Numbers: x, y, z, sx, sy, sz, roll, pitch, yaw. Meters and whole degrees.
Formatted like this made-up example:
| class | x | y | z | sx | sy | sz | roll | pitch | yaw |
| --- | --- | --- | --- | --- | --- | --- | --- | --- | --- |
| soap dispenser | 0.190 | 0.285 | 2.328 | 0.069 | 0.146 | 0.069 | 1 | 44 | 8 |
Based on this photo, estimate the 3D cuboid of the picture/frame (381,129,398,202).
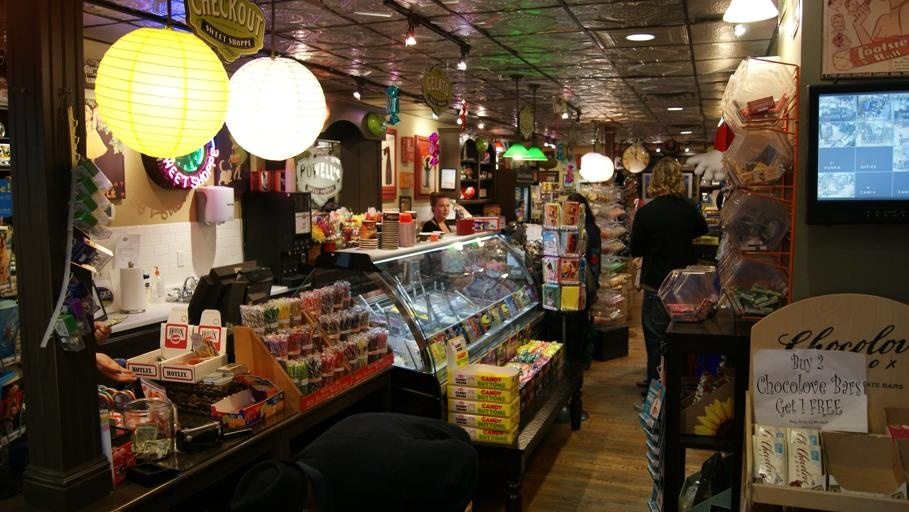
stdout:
| class | x | y | z | sx | sy | sz | roll | pitch | yaw |
| --- | --- | --- | --- | --- | --- | --- | --- | --- | --- |
| picture/frame | -1.174 | -1.670 | 11.223 | 0.172 | 1.346 | 0.709 | -2 | 8 | 13 |

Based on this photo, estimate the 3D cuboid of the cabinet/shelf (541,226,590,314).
| class | x | y | z | sx | sy | sz | roll | pitch | yaw |
| --- | --- | --- | --- | --- | --- | --- | --- | --- | --- |
| cabinet/shelf | 1.128 | 0.132 | 6.357 | 0.442 | 0.875 | 0.227 | -3 | 8 | 6 |

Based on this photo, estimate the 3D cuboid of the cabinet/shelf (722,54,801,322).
| class | x | y | z | sx | sy | sz | roll | pitch | yaw |
| --- | --- | --- | --- | --- | --- | --- | --- | --- | --- |
| cabinet/shelf | 1.794 | -0.405 | 3.652 | 0.389 | 1.522 | 0.252 | -1 | 9 | 22 |

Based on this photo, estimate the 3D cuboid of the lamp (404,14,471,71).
| class | x | y | z | sx | sy | sz | roll | pitch | yaw |
| --- | --- | --- | --- | --- | --- | --- | --- | --- | --- |
| lamp | -0.132 | -2.286 | 6.605 | 0.252 | 0.412 | 1.362 | 0 | 2 | 33 |

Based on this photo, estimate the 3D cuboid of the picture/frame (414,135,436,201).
| class | x | y | z | sx | sy | sz | roll | pitch | yaw |
| --- | --- | --- | --- | --- | --- | --- | --- | --- | --- |
| picture/frame | -0.584 | -1.807 | 12.413 | 0.369 | 1.264 | 0.789 | -3 | 8 | 5 |

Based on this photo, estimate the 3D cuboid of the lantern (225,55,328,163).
| class | x | y | z | sx | sy | sz | roll | pitch | yaw |
| --- | --- | --- | --- | --- | --- | --- | --- | --- | --- |
| lantern | -1.264 | -1.023 | 4.319 | 0.718 | 0.735 | 0.706 | 7 | 18 | 31 |

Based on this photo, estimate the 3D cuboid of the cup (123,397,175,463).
| class | x | y | z | sx | sy | sz | roll | pitch | yaw |
| --- | --- | --- | --- | --- | --- | --- | --- | --- | --- |
| cup | -1.704 | 0.982 | 3.513 | 0.343 | 0.338 | 0.321 | 0 | -1 | 0 |

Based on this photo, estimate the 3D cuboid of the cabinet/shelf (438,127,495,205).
| class | x | y | z | sx | sy | sz | roll | pitch | yaw |
| --- | --- | --- | --- | --- | --- | --- | --- | --- | --- |
| cabinet/shelf | 0.357 | -1.913 | 14.007 | 0.896 | 1.977 | 2.553 | -2 | 8 | 12 |

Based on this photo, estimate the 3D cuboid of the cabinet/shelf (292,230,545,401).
| class | x | y | z | sx | sy | sz | roll | pitch | yaw |
| --- | --- | --- | --- | --- | --- | --- | --- | --- | --- |
| cabinet/shelf | -0.309 | 0.348 | 5.479 | 1.250 | 0.883 | 2.136 | 3 | 5 | 25 |

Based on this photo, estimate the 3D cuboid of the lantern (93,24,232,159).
| class | x | y | z | sx | sy | sz | roll | pitch | yaw |
| --- | --- | --- | --- | --- | --- | --- | --- | --- | --- |
| lantern | -1.759 | -1.036 | 3.933 | 0.857 | 0.859 | 0.772 | 2 | 19 | -10 |
